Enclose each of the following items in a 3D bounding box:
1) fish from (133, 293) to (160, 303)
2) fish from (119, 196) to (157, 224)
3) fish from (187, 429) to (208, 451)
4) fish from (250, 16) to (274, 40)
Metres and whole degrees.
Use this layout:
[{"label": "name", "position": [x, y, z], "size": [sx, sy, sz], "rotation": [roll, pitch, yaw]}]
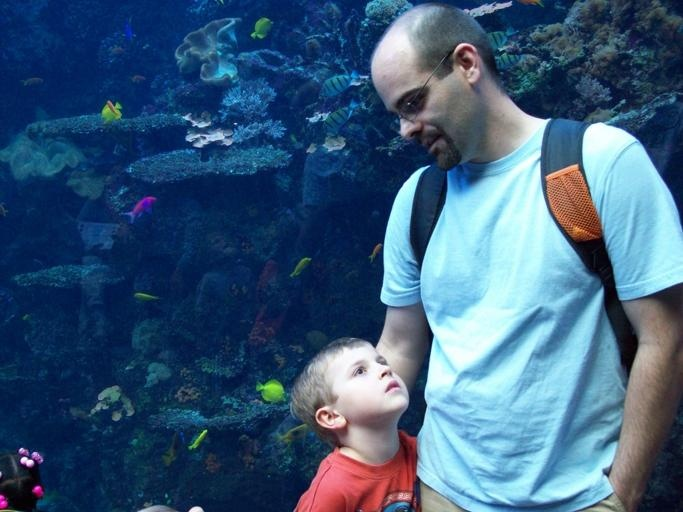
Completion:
[{"label": "fish", "position": [-4.166, 0.891, 15.001], "size": [0.519, 0.218, 0.095], "rotation": [9, -12, 9]}, {"label": "fish", "position": [-4.359, -0.966, 15.039], "size": [0.606, 0.285, 0.182], "rotation": [-37, 30, 20]}, {"label": "fish", "position": [-2.845, 3.601, 13.814], "size": [0.367, 0.159, 0.811], "rotation": [-12, -27, -33]}, {"label": "fish", "position": [-1.689, -4.807, 14.732], "size": [0.389, 0.364, 0.463], "rotation": [-16, 17, -28]}]
